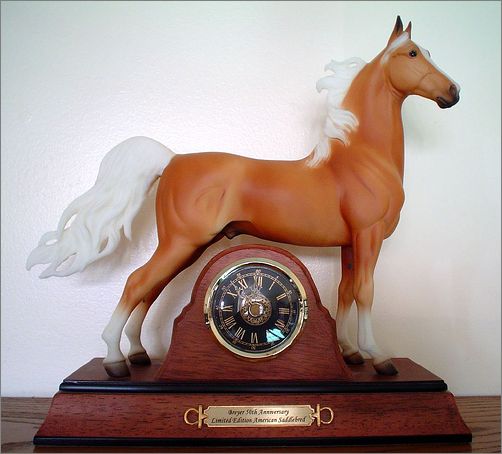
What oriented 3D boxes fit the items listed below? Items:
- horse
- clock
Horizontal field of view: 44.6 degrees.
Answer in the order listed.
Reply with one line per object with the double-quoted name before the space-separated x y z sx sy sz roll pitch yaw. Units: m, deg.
"horse" 0.038 -0.058 1.767 1.305 0.804 0.786 -23 47 -17
"clock" 0.004 0.231 1.675 0.042 0.353 0.263 -14 71 49
